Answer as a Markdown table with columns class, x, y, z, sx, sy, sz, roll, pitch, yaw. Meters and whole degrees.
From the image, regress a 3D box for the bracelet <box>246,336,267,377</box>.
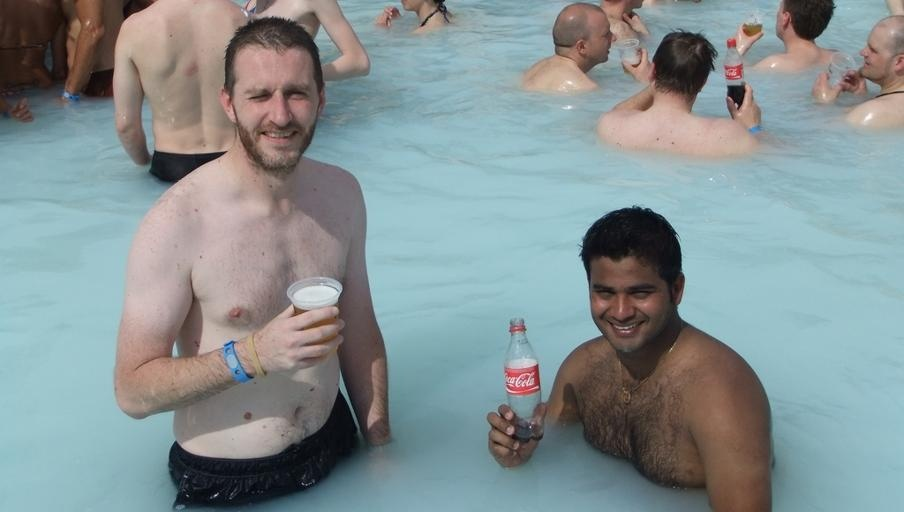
| class | x | y | z | sx | sy | sz | roll | pitch | yaw |
| --- | --- | --- | --- | --- | --- | --- | --- | --- | --- |
| bracelet | -1.162 | 0.587 | 4.468 | 0.073 | 0.223 | 0.136 | -16 | 34 | -17 |

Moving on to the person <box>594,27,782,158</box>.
| class | x | y | z | sx | sy | sz | roll | pitch | yaw |
| --- | --- | --- | --- | --- | --- | --- | --- | --- | --- |
| person | 2.258 | -1.424 | 7.529 | 1.528 | 1.105 | 1.369 | 17 | 57 | 20 |

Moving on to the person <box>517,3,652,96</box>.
| class | x | y | z | sx | sy | sz | roll | pitch | yaw |
| --- | --- | --- | --- | --- | --- | --- | --- | --- | --- |
| person | 1.598 | -2.563 | 9.254 | 1.444 | 0.888 | 1.077 | -9 | 50 | -2 |

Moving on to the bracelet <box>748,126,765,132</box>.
| class | x | y | z | sx | sy | sz | roll | pitch | yaw |
| --- | --- | --- | --- | --- | --- | --- | --- | --- | --- |
| bracelet | 3.194 | -1.343 | 7.970 | 0.079 | 0.059 | 0.078 | -4 | 11 | -8 |
